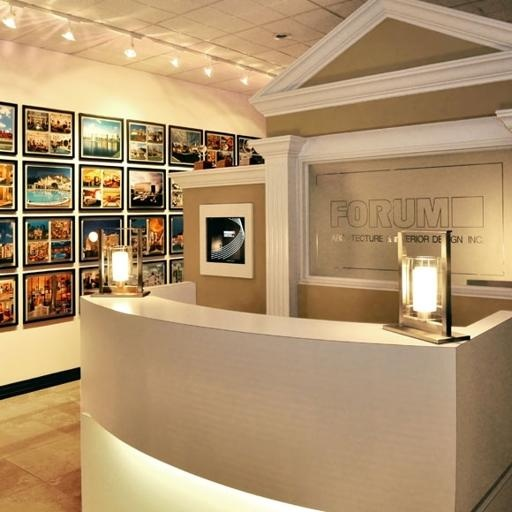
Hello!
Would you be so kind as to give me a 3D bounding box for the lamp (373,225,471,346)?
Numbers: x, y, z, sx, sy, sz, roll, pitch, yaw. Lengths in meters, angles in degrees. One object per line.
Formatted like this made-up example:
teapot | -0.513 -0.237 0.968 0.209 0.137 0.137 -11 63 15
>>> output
lamp | 0.666 0.081 1.791 0.299 0.414 0.556 -2 15 13
